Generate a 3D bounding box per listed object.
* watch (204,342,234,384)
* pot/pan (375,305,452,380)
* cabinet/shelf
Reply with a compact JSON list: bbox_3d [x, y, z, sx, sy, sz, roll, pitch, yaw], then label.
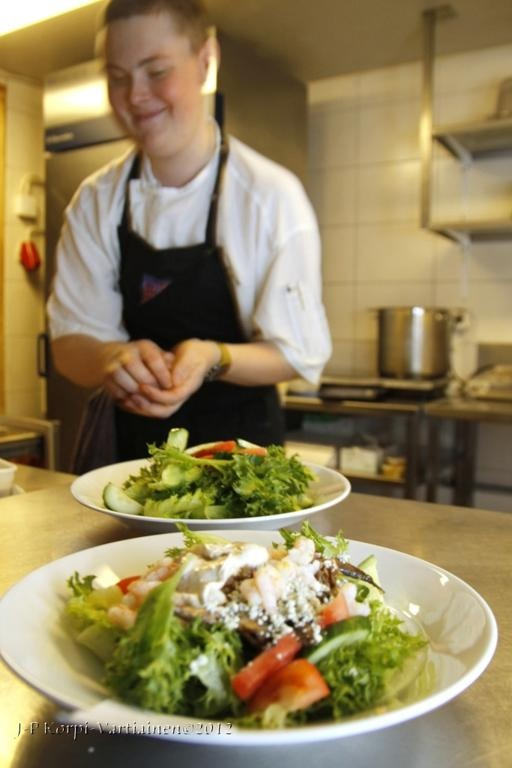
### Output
[{"bbox_3d":[-0.060,-0.035,1.029,0.040,0.057,0.094,1,2,6],"label":"watch"},{"bbox_3d":[0.493,-0.133,2.145,0.257,0.259,0.252,0,-1,4],"label":"pot/pan"},{"bbox_3d":[0.706,-0.910,2.093,0.313,0.831,0.320,1,3,13],"label":"cabinet/shelf"}]
